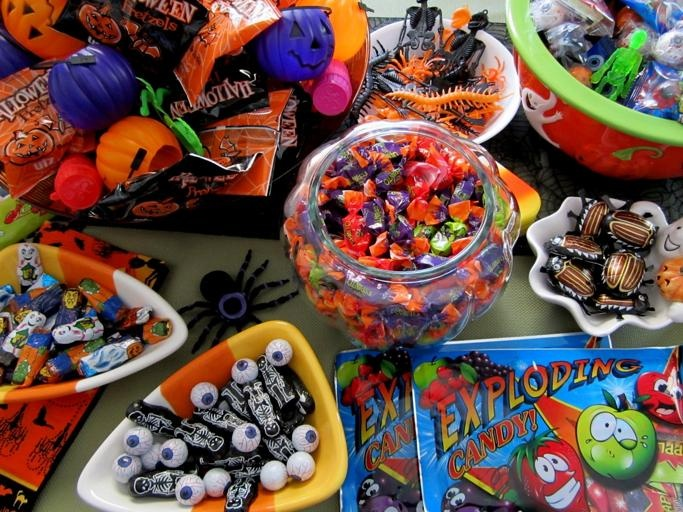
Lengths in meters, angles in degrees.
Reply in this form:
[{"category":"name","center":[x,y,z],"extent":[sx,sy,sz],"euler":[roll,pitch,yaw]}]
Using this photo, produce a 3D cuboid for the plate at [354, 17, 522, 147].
[{"category":"plate","center":[0.271,-0.348,1.095],"extent":[0.254,0.065,0.284],"euler":[1,83,5]}]
